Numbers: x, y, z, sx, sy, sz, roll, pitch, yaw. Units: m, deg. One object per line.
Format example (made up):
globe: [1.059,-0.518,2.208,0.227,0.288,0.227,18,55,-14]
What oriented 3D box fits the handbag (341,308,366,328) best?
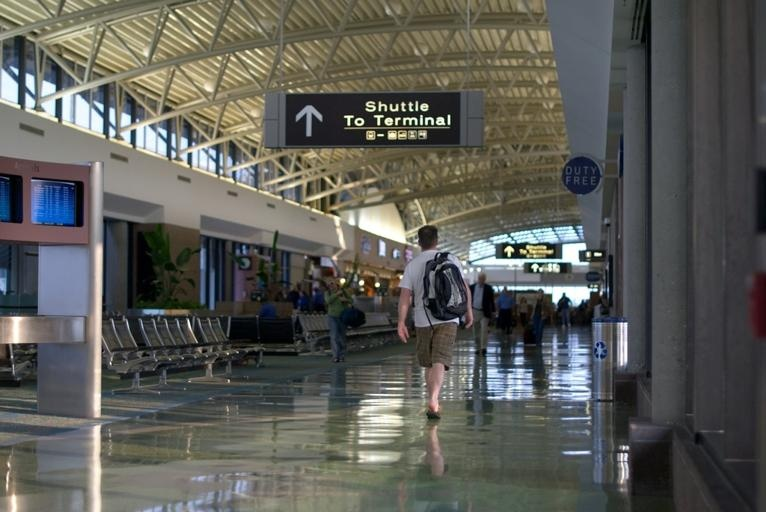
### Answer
handbag: [-0.667,1.334,14.739,0.587,0.415,0.406,9,8,-7]

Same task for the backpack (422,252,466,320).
backpack: [0.682,0.332,7.371,0.476,0.755,0.239,0,-3,4]

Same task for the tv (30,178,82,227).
tv: [-3.615,-0.587,7.434,0.522,0.478,0.275,5,-8,-42]

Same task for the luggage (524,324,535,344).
luggage: [4.477,2.328,20.509,0.218,0.568,0.540,-3,-5,45]

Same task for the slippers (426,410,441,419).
slippers: [0.547,1.665,7.229,0.144,0.090,0.111,0,-3,4]

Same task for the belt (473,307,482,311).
belt: [2.258,1.230,16.036,0.089,0.072,0.245,2,-4,-36]

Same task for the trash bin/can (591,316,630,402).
trash bin/can: [2.878,1.280,8.564,0.407,0.994,0.459,-1,-4,16]
